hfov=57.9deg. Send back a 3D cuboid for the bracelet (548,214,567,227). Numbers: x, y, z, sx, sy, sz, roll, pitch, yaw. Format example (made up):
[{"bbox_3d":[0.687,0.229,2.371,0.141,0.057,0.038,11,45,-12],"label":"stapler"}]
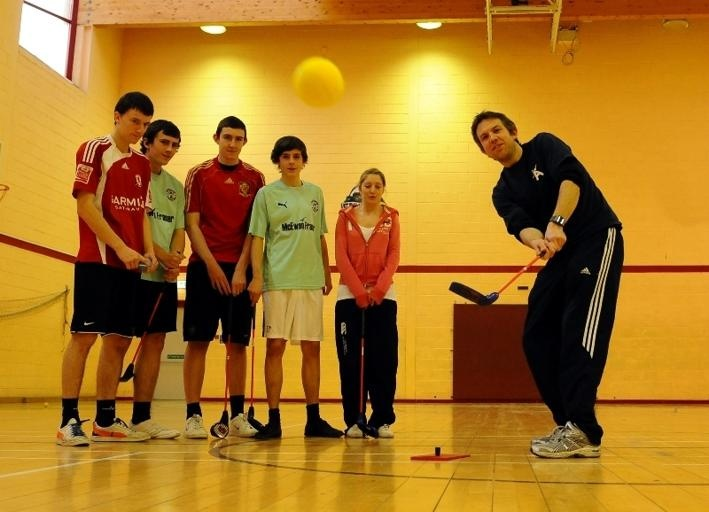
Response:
[{"bbox_3d":[1.167,-0.201,3.698,0.088,0.057,0.086,4,-24,40],"label":"bracelet"}]

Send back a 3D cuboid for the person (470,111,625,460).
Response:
[{"bbox_3d":[1.180,0.098,3.891,0.866,2.118,0.697,2,-22,4],"label":"person"}]

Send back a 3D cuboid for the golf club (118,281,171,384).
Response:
[{"bbox_3d":[-1.493,0.532,4.525,0.103,0.973,0.162,26,23,-5],"label":"golf club"}]

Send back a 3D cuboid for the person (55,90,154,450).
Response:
[{"bbox_3d":[-1.617,0.046,4.242,0.588,2.285,0.476,9,-11,-43],"label":"person"}]
